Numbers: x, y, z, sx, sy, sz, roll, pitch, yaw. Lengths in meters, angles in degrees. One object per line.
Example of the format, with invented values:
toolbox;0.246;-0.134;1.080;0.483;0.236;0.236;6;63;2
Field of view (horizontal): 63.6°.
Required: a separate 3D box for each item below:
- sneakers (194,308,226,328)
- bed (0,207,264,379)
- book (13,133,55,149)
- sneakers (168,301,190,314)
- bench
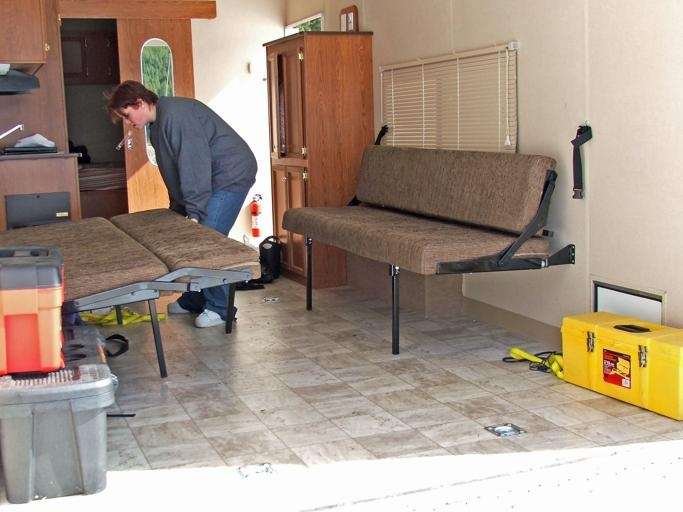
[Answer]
sneakers;-1.071;0.507;4.456;0.293;0.098;0.109;1;1;-44
bed;-1.113;0.020;3.140;1.437;0.396;1.328;-7;19;-29
book;-2.807;-1.055;5.049;0.311;0.124;0.264;-6;11;-25
sneakers;-1.439;0.451;4.861;0.158;0.085;0.130;1;-2;0
bench;0.572;-0.262;4.508;1.337;1.065;2.476;-15;17;-21
